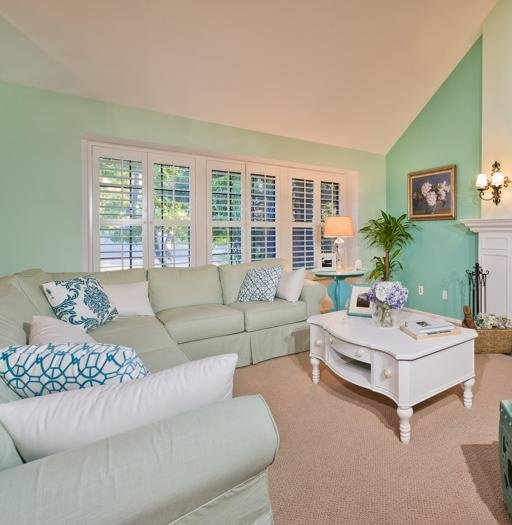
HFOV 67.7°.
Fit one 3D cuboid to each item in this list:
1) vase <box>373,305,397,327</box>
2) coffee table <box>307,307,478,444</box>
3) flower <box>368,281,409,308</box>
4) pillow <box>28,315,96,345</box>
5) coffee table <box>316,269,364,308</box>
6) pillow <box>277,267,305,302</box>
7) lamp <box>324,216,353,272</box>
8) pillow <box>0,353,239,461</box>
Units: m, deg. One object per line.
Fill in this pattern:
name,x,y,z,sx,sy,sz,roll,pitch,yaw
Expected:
vase,0.808,0.341,2.481,0.136,0.143,0.136,-3,5,-25
coffee table,0.830,0.618,2.474,0.659,0.447,0.912,-8,9,-29
flower,0.814,0.199,2.354,0.181,0.159,0.165,-5,10,-23
pillow,-0.770,0.280,1.542,0.206,0.065,0.212,20,10,-38
coffee table,0.847,0.254,4.086,0.469,0.469,0.434,1,-1,-23
pillow,0.290,0.207,3.501,0.164,0.293,0.362,2,-4,-30
lamp,0.952,-0.217,4.514,0.335,0.654,0.976,0,9,11
pillow,-0.390,0.466,1.245,0.790,0.237,0.442,-5,-25,-13
